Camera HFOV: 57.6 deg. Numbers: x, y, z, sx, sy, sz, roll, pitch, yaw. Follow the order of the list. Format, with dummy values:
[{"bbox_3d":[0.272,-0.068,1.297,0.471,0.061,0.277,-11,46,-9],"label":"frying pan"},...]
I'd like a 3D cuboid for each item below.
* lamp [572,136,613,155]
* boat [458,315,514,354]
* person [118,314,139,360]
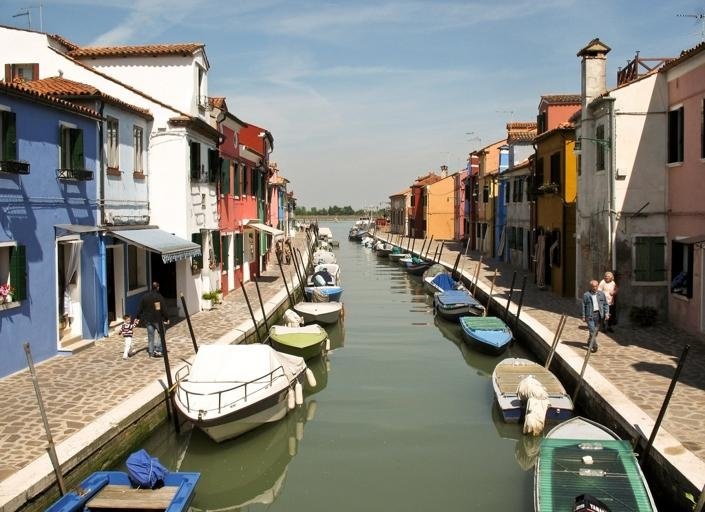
[{"bbox_3d":[8.869,-4.101,23.446,0.813,0.437,0.744,0,0,-2],"label":"lamp"},{"bbox_3d":[4.901,2.864,23.069,1.512,0.908,2.629,-2,6,-1],"label":"boat"},{"bbox_3d":[-6.780,2.195,19.399,0.457,1.213,2.444,-5,7,-20],"label":"person"}]
